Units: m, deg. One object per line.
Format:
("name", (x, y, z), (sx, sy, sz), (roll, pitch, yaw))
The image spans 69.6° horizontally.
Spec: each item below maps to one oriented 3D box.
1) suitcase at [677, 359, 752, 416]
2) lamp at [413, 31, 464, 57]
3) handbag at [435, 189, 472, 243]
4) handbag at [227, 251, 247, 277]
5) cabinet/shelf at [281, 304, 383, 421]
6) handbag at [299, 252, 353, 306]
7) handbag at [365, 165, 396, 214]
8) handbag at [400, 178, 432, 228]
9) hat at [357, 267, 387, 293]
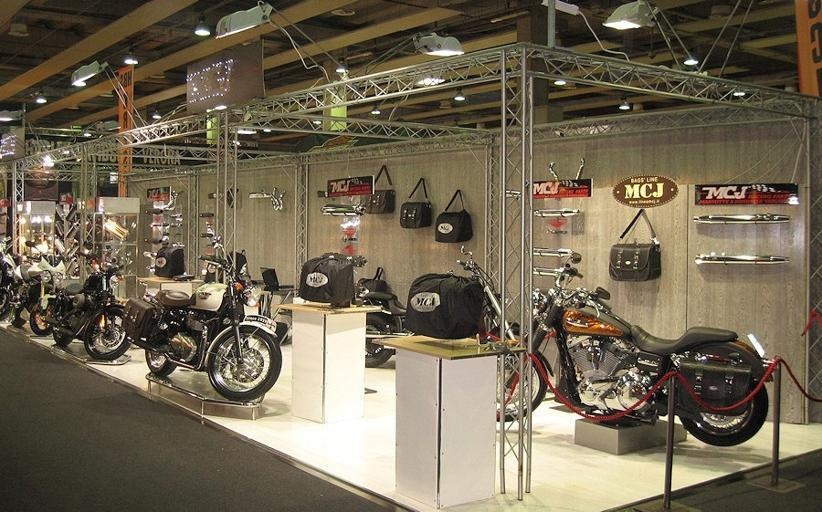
("suitcase", (3.108, 1.392, 6.062), (0.703, 0.560, 0.368), (4, 7, 25))
("lamp", (0.365, -3.018, 8.468), (0.614, 0.365, 0.569), (0, 6, -8))
("handbag", (0.746, -0.667, 10.228), (0.416, 0.948, 0.625), (-4, 9, -41))
("handbag", (-2.791, 0.149, 9.516), (0.315, 0.519, 0.424), (-5, 6, -29))
("cabinet/shelf", (-0.822, 1.371, 7.990), (1.421, 1.754, 1.363), (2, -3, -40))
("handbag", (-1.038, 0.313, 7.210), (0.673, 0.634, 0.395), (1, 6, -2))
("handbag", (-0.577, -1.272, 11.416), (0.341, 0.970, 0.575), (-4, 8, -36))
("handbag", (0.086, -0.972, 10.823), (0.332, 0.916, 0.623), (-5, 9, -44))
("hat", (-0.671, 0.462, 11.109), (0.586, 0.587, 0.373), (4, 5, -33))
